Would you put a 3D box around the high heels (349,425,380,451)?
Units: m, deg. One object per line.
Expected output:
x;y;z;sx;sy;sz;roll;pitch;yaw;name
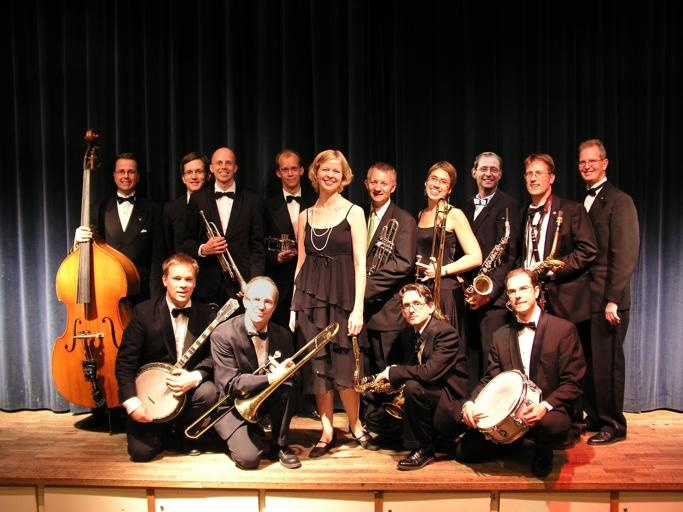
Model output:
0.171;1.316;5.125;0.097;0.071;0.261;-10;15;-29;high heels

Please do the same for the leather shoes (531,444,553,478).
1.342;1.375;4.705;0.090;0.111;0.273;0;10;9;leather shoes

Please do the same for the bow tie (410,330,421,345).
0.524;0.575;4.969;0.061;0.044;0.083;0;11;0;bow tie

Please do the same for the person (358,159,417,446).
0.300;0.294;5.185;0.405;2.029;0.644;-2;4;-31;person

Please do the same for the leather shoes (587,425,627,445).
1.932;1.313;5.176;0.312;0.144;0.115;1;-12;-16;leather shoes

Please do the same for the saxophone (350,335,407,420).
0.251;0.877;4.973;0.326;0.593;0.361;3;8;-3;saxophone

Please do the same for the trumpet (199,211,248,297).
-0.901;-0.014;5.445;0.249;0.694;0.291;5;6;15;trumpet

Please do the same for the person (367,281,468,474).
0.519;0.838;5.068;0.601;1.255;0.673;4;7;2;person

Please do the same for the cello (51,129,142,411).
-1.831;0.142;5.185;0.690;1.972;0.328;-2;3;5;cello

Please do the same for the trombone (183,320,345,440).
-0.577;0.837;4.905;1.009;0.246;0.269;-40;28;-10;trombone

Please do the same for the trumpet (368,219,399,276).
0.308;-0.051;5.074;0.090;0.367;0.156;18;-12;5;trumpet

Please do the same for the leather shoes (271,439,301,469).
-0.383;1.388;4.908;0.104;0.118;0.290;0;-2;-32;leather shoes

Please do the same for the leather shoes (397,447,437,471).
0.515;1.390;4.860;0.270;0.133;0.111;-3;3;-23;leather shoes

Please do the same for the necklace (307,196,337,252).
-0.151;-0.204;4.997;0.130;0.299;0.008;10;3;-4;necklace

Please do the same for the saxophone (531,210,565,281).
1.528;-0.062;5.187;0.194;0.550;0.175;3;9;10;saxophone

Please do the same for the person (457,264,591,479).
1.249;0.811;4.878;0.754;1.354;0.852;-8;5;-40;person

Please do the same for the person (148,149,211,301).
-1.222;-0.006;5.634;0.450;1.616;0.491;1;-1;-19;person

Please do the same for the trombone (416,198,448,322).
0.677;0.017;5.218;0.203;0.848;0.224;4;7;11;trombone

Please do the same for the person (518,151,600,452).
1.575;0.278;5.397;0.600;2.092;0.670;-8;8;-32;person

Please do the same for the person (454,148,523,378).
1.133;0.014;5.493;0.387;1.806;0.406;2;8;4;person
